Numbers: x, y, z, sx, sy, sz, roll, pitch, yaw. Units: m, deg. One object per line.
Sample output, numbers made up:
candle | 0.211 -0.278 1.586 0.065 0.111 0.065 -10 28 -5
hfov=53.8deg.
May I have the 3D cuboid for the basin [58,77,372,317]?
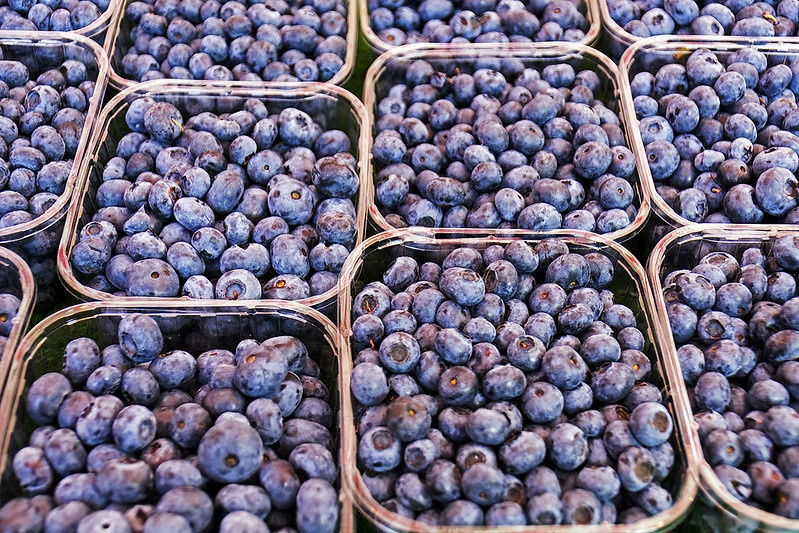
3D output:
basin | -0.943 -0.397 4.203 1.567 0.461 1.396 2 69 -4
